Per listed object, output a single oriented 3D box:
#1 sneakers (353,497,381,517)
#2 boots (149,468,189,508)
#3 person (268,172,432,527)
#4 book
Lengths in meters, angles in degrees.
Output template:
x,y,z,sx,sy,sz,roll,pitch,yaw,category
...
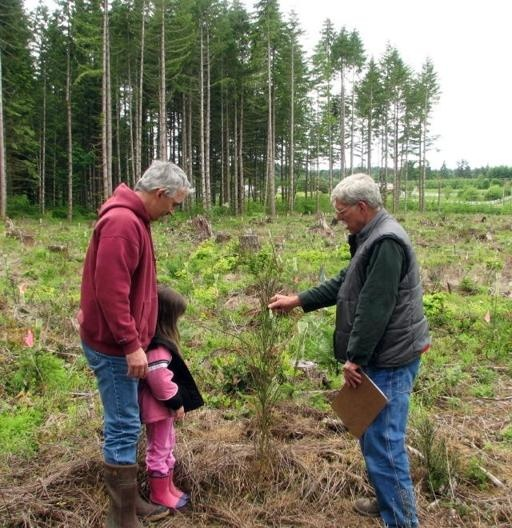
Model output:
x,y,z,sx,sy,sz,roll,pitch,yaw,category
0.768,1.673,3.726,0.178,0.162,0.079,3,0,27,sneakers
-0.614,1.531,3.764,0.274,0.351,0.163,-1,4,-16,boots
0.826,0.567,3.658,0.724,2.263,0.628,6,12,22,person
0.689,0.936,3.560,0.081,0.376,0.400,12,36,-37,book
